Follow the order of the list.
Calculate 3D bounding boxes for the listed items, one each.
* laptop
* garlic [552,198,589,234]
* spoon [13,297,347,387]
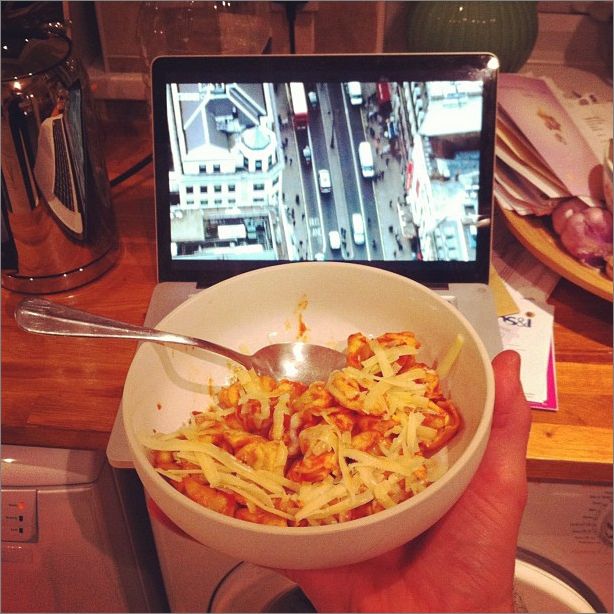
[{"bbox_3d":[0.040,0.001,0.949,0.515,0.349,0.503,-1,52,2],"label":"laptop"},{"bbox_3d":[0.385,-0.138,0.907,0.041,0.028,0.055,14,80,8],"label":"garlic"},{"bbox_3d":[-0.143,0.046,0.755,0.308,0.037,0.058,10,51,-22],"label":"spoon"}]
